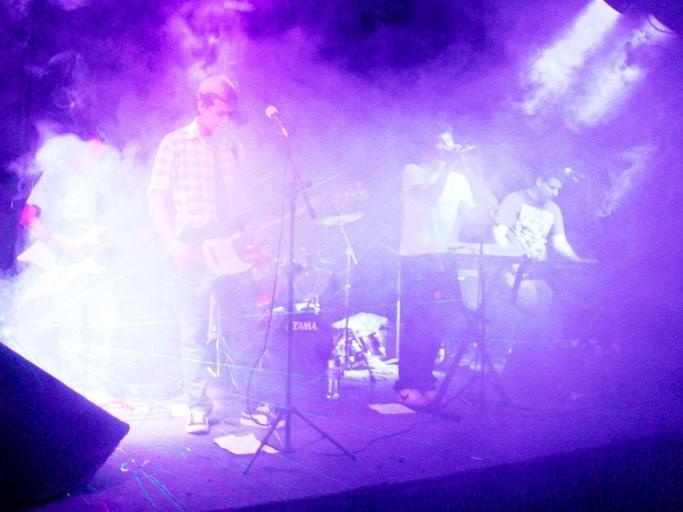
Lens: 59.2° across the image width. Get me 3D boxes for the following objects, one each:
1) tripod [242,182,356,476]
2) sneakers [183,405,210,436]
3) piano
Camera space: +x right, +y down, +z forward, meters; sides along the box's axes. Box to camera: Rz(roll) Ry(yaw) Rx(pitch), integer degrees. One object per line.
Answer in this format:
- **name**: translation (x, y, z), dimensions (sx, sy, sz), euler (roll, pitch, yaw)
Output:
- **tripod**: translation (-0.389, 0.468, 5.032), dimensions (0.774, 2.153, 1.901), euler (-1, 8, -6)
- **sneakers**: translation (-1.147, 1.302, 4.798), dimensions (0.186, 0.168, 0.209), euler (-2, 9, -17)
- **piano**: translation (1.567, 0.047, 5.288), dimensions (1.495, 0.201, 0.273), euler (-2, 9, -17)
